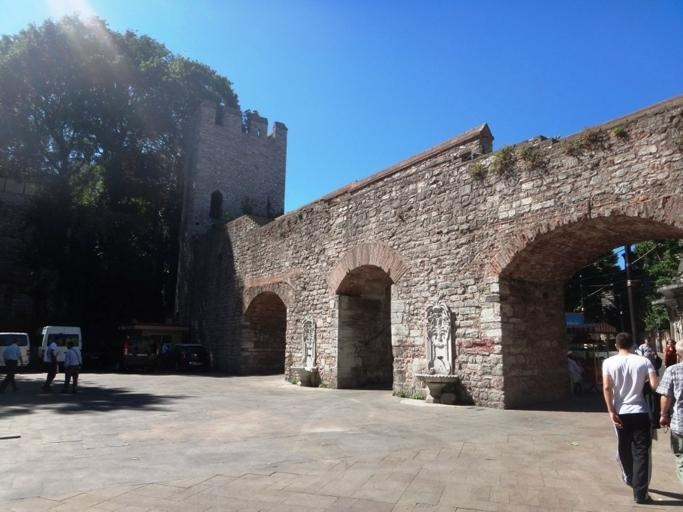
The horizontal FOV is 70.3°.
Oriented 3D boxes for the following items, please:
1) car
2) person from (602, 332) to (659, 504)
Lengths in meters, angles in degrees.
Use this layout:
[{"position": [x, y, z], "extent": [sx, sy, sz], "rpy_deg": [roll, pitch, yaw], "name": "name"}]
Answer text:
[{"position": [-8.412, 4.510, 22.747], "extent": [3.184, 1.791, 4.968], "rpy_deg": [11, -17, -34], "name": "car"}, {"position": [3.302, 1.918, 5.485], "extent": [0.529, 1.572, 0.418], "rpy_deg": [-6, -15, 29], "name": "person"}]
